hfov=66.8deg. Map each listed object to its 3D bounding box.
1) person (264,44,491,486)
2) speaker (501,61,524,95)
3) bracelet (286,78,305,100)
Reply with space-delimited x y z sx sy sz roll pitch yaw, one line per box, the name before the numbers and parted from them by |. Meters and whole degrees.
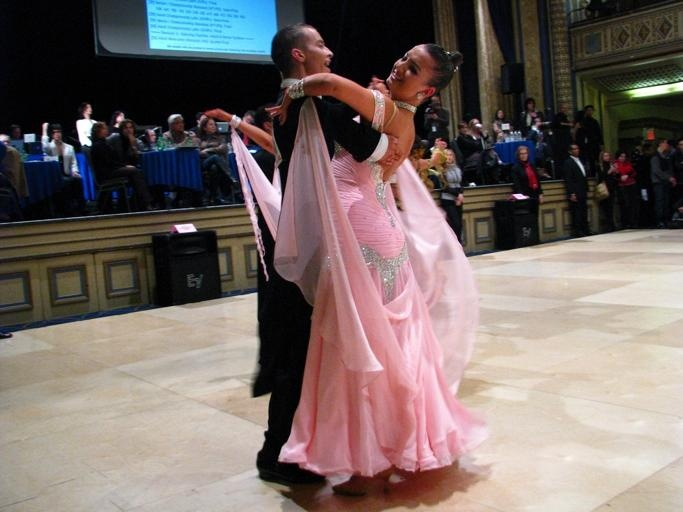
person | 0.222 0.047 2.194 0.643 1.809 0.951 -1 7 31
speaker | 5.061 -5.319 15.281 0.638 0.887 0.435 -3 6 15
bracelet | -0.170 -0.630 1.939 0.075 0.088 0.034 6 -19 8
